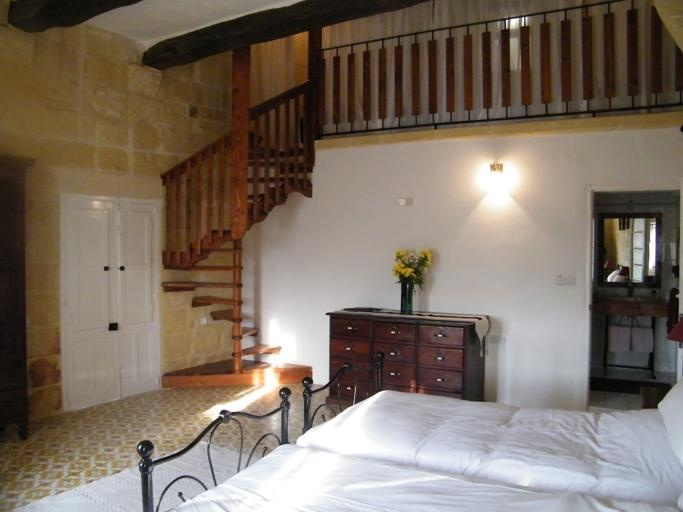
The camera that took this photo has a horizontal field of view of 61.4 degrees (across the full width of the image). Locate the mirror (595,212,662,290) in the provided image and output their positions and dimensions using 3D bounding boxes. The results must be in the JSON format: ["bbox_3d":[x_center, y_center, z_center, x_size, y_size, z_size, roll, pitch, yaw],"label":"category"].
[{"bbox_3d":[3.947,-0.072,7.813,0.972,1.342,0.073,2,3,28],"label":"mirror"}]

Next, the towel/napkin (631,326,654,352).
[{"bbox_3d":[3.986,1.094,7.582,0.312,0.381,0.145,-1,-4,15],"label":"towel/napkin"}]

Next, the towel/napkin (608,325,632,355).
[{"bbox_3d":[3.729,1.104,7.679,0.355,0.376,0.119,1,-1,25],"label":"towel/napkin"}]

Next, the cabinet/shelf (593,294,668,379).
[{"bbox_3d":[3.895,1.064,7.648,1.079,1.136,0.571,-1,-3,28],"label":"cabinet/shelf"}]

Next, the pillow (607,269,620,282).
[{"bbox_3d":[3.716,0.267,7.912,0.151,0.179,0.132,1,-1,-6],"label":"pillow"}]

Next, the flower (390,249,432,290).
[{"bbox_3d":[0.823,0.186,6.898,0.480,0.505,0.442,0,-3,-8],"label":"flower"}]

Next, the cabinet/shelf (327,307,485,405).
[{"bbox_3d":[0.719,1.197,6.780,1.688,1.090,0.632,1,0,26],"label":"cabinet/shelf"}]
